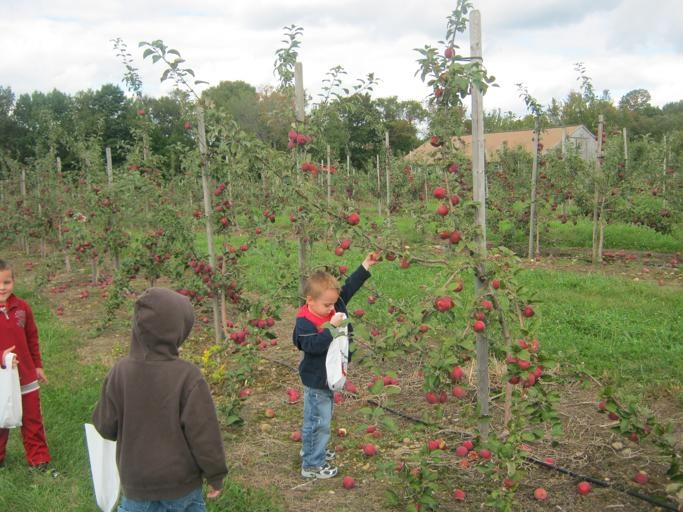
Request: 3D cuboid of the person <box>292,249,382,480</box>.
[{"bbox_3d":[-0.044,0.932,5.858,0.723,2.023,0.654,0,1,38],"label":"person"}]
